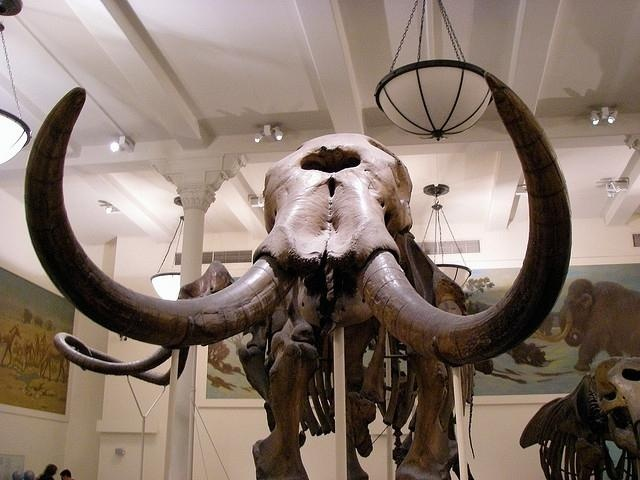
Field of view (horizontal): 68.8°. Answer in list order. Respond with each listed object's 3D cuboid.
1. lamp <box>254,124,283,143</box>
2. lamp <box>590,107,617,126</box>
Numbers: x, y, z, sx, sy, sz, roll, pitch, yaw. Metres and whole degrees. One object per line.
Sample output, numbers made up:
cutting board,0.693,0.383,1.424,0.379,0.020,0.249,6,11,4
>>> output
lamp,-0.775,-1.620,7.162,0.302,0.121,0.305,-11,-16,43
lamp,4.072,-1.746,6.758,0.314,0.325,0.138,0,-9,2
